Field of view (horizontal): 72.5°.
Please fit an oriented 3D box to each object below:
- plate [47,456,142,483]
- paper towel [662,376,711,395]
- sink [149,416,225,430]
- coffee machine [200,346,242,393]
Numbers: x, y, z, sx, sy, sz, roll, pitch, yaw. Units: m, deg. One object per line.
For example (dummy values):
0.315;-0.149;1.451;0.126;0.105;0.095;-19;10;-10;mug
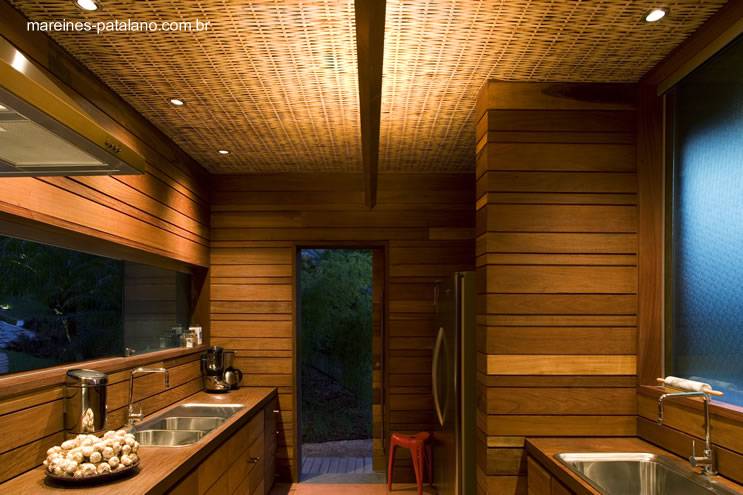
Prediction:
-1.514;1.244;2.757;0.443;0.318;0.097;-9;64;-1;plate
1.703;0.738;2.749;0.126;0.145;0.027;4;86;-37;paper towel
-1.408;1.359;3.938;0.439;0.449;0.127;-3;64;3;sink
-1.508;1.222;5.026;0.590;0.347;0.435;1;87;-12;coffee machine
